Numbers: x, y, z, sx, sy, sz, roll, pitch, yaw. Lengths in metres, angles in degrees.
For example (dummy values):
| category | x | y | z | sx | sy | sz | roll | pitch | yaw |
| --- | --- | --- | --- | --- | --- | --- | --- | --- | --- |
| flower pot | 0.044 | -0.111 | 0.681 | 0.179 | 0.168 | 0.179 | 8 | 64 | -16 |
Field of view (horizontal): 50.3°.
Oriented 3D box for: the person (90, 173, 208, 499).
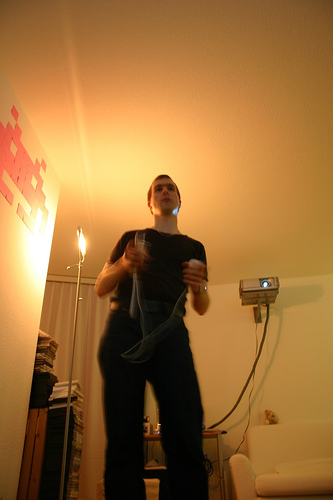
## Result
| category | x | y | z | sx | sy | sz | roll | pitch | yaw |
| --- | --- | --- | --- | --- | --- | --- | --- | --- | --- |
| person | -0.042 | 0.103 | 0.957 | 0.303 | 0.900 | 0.421 | -2 | -18 | 6 |

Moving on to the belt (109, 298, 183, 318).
| category | x | y | z | sx | sy | sz | roll | pitch | yaw |
| --- | --- | --- | --- | --- | --- | --- | --- | --- | --- |
| belt | -0.048 | 0.140 | 0.880 | 0.186 | 0.043 | 0.083 | 1 | -19 | -4 |

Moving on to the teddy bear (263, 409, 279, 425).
| category | x | y | z | sx | sy | sz | roll | pitch | yaw |
| --- | --- | --- | --- | --- | --- | --- | --- | --- | --- |
| teddy bear | 1.128 | 1.796 | 3.850 | 0.161 | 0.146 | 0.267 | -4 | -19 | 11 |
